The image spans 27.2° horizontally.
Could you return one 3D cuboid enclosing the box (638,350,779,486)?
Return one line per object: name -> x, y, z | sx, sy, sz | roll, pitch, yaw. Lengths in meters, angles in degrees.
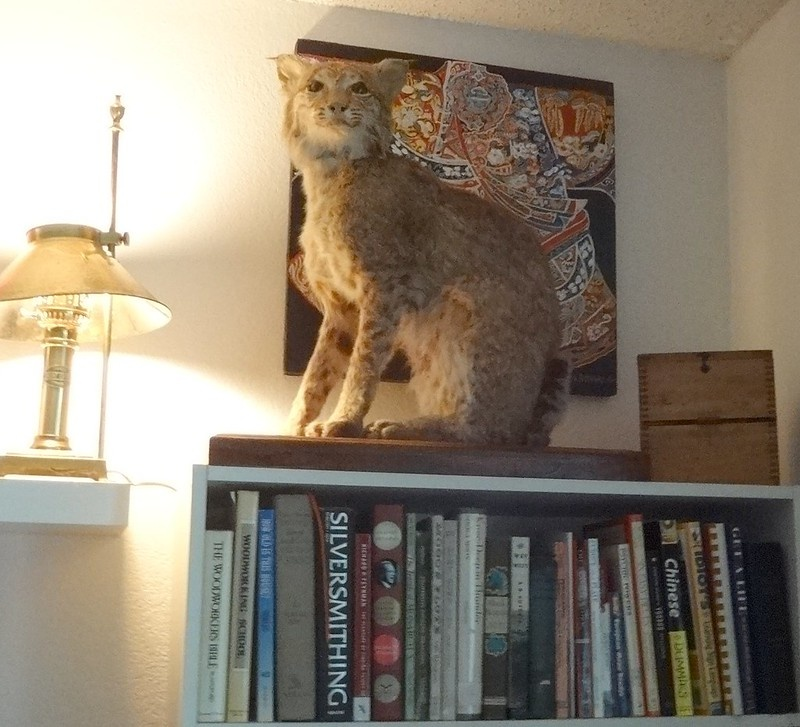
box -> 0.501, 0.084, 2.606 | 0.210, 0.206, 0.147 | -2, 10, 22
